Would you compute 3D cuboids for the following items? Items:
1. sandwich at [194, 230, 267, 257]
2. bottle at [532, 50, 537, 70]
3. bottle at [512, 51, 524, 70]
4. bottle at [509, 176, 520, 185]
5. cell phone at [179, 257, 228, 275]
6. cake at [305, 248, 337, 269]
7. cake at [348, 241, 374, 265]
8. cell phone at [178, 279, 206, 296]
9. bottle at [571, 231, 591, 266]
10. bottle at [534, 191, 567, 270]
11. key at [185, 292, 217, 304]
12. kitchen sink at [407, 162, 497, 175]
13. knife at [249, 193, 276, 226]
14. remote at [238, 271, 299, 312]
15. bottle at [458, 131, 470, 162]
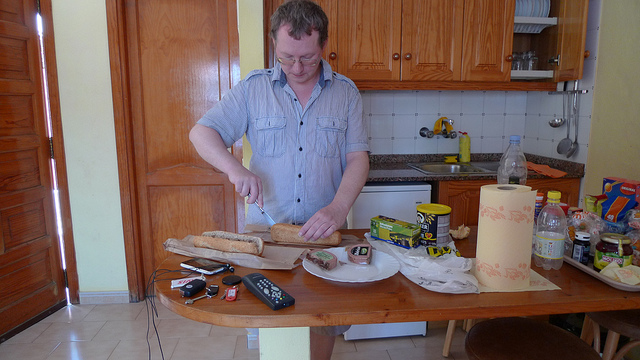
[{"bbox_3d":[-0.566,0.386,2.708,0.493,0.122,0.148,6,37,7],"label":"sandwich"},{"bbox_3d":[2.038,-1.129,4.208,0.042,0.161,0.134,3,16,25],"label":"bottle"},{"bbox_3d":[1.848,-1.116,4.180,0.138,0.153,0.073,-10,16,-26],"label":"bottle"},{"bbox_3d":[1.247,0.000,2.847,0.058,0.048,0.029,1,9,10],"label":"bottle"},{"bbox_3d":[-0.661,0.498,2.561,0.210,0.020,0.120,15,20,22],"label":"cell phone"},{"bbox_3d":[0.023,0.449,2.546,0.116,0.028,0.111,-8,25,-23],"label":"cake"},{"bbox_3d":[0.243,0.429,2.619,0.164,0.048,0.166,11,30,25],"label":"cake"},{"bbox_3d":[-0.699,0.586,2.446,0.079,0.029,0.107,8,19,31],"label":"cell phone"},{"bbox_3d":[1.529,0.398,2.604,0.091,0.183,0.095,-3,15,1],"label":"bottle"},{"bbox_3d":[1.333,0.285,2.580,0.196,0.431,0.236,0,10,1],"label":"bottle"},{"bbox_3d":[-0.643,0.640,2.428,0.166,0.020,0.055,-14,25,-31],"label":"key"},{"bbox_3d":[1.224,-0.085,4.176,0.771,0.095,0.537,0,13,11],"label":"kitchen sink"},{"bbox_3d":[-0.352,0.204,2.827,0.083,0.298,0.020,-41,8,29],"label":"knife"},{"bbox_3d":[-0.280,0.598,2.410,0.150,0.069,0.318,-15,34,-38],"label":"remote"},{"bbox_3d":[1.436,-0.335,4.424,0.104,0.294,0.143,0,15,13],"label":"bottle"}]
